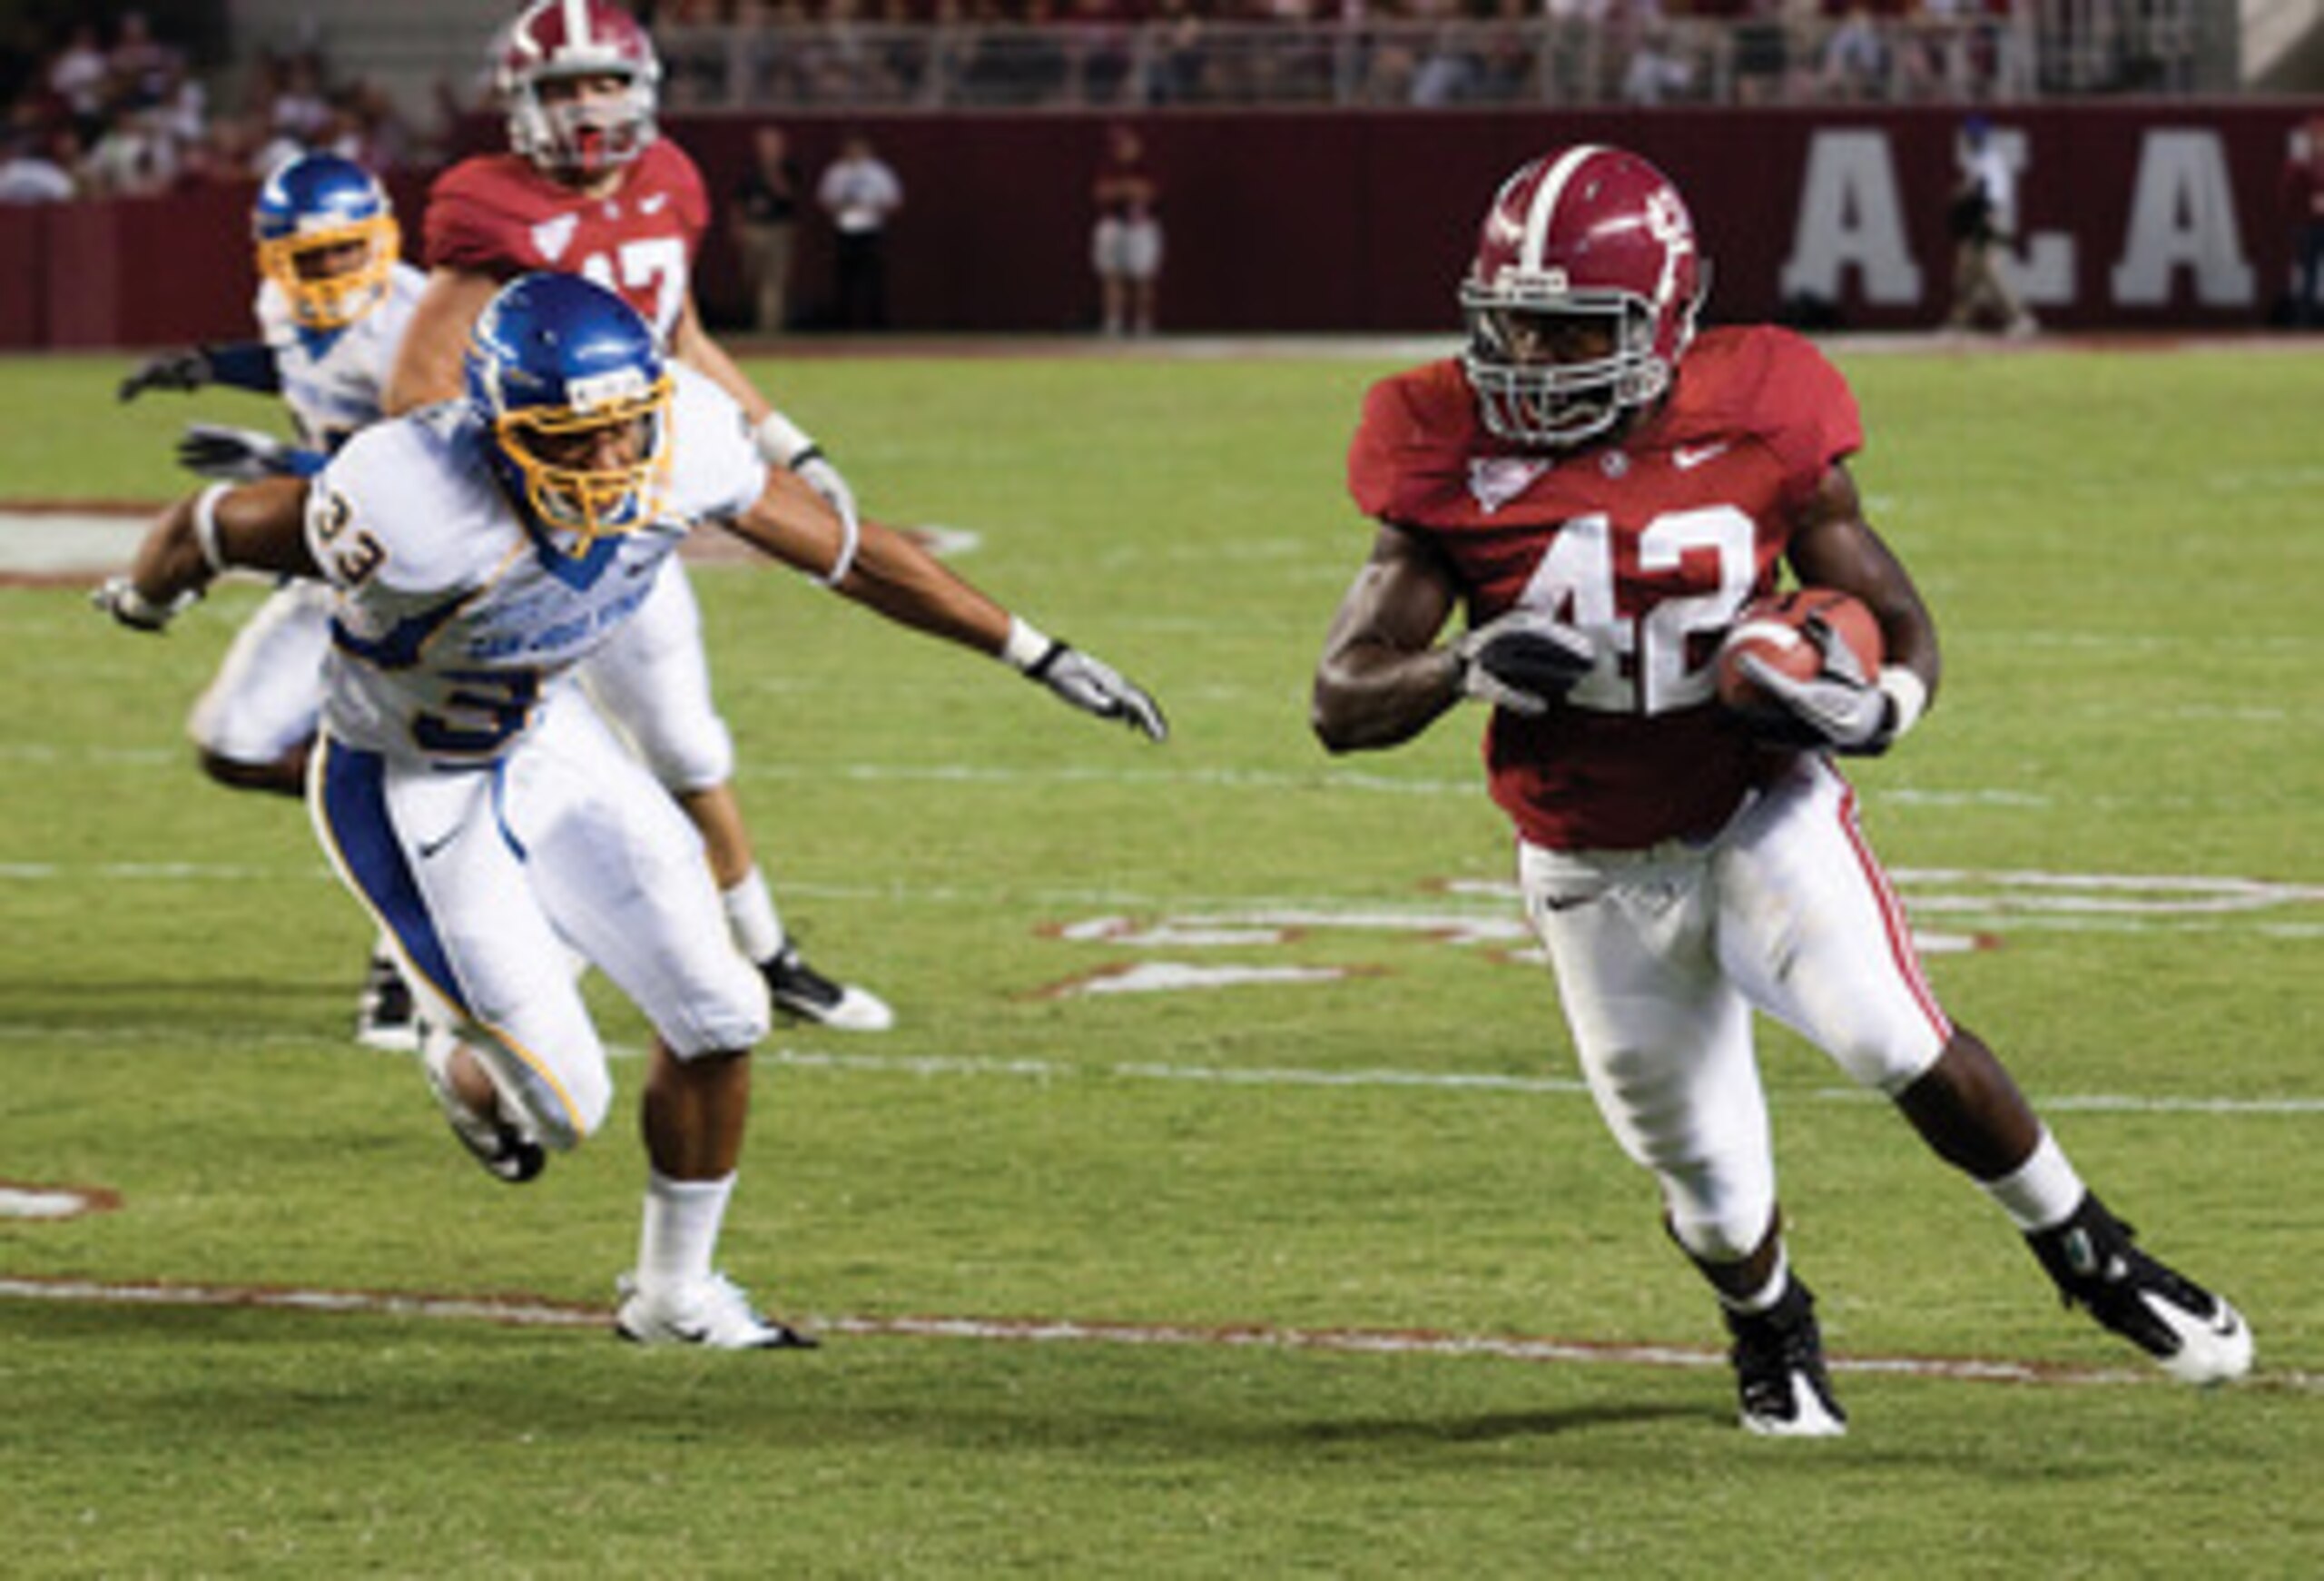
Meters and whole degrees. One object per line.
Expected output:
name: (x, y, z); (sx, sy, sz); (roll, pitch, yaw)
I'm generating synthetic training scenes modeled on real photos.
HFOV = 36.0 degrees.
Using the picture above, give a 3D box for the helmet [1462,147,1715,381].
helmet: (0.779, -0.883, 6.015); (0.381, 0.320, 0.480); (6, 24, 35)

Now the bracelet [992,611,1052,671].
bracelet: (-0.253, -0.274, 6.512); (0.093, 0.085, 0.099); (25, -22, 18)

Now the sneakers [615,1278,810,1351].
sneakers: (-0.820, 0.941, 6.440); (0.356, 0.100, 0.130); (2, 1, 1)

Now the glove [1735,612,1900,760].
glove: (1.057, -0.191, 5.869); (0.229, 0.259, 0.238); (3, 9, 28)

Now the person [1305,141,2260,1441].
person: (0.945, 0.012, 6.002); (1.325, 2.155, 0.439); (0, 9, 11)

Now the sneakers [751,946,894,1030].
sneakers: (-0.698, 0.427, 7.806); (0.406, 0.119, 0.117); (7, 17, -4)

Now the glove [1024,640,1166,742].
glove: (-0.080, -0.167, 6.483); (0.273, 0.087, 0.176); (27, 4, -18)

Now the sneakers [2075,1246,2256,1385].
sneakers: (1.656, 0.884, 5.938); (0.269, 0.254, 0.122); (-4, 8, -18)

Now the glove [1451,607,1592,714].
glove: (0.587, -0.208, 5.820); (0.214, 0.152, 0.089); (-1, 8, 2)

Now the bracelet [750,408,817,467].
bracelet: (-0.869, -0.796, 8.083); (0.135, 0.104, 0.139); (36, 0, -13)

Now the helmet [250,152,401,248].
helmet: (-1.975, -1.329, 8.251); (0.292, 0.205, 0.233); (-17, 4, 44)

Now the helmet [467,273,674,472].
helmet: (-1.020, -0.723, 6.100); (0.282, 0.247, 0.353); (-25, 23, -30)

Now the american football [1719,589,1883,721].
american football: (1.083, -0.226, 5.938); (0.214, 0.174, 0.274); (-11, 7, 40)

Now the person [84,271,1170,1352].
person: (-1.070, -0.083, 6.417); (1.483, 1.643, 0.544); (-3, 8, -12)
